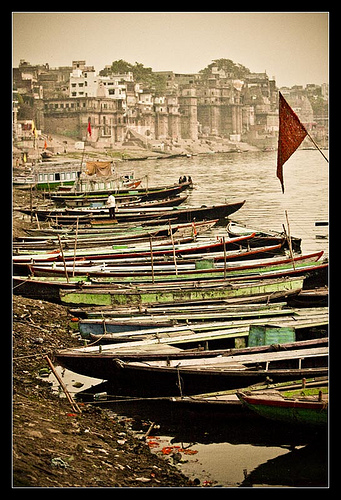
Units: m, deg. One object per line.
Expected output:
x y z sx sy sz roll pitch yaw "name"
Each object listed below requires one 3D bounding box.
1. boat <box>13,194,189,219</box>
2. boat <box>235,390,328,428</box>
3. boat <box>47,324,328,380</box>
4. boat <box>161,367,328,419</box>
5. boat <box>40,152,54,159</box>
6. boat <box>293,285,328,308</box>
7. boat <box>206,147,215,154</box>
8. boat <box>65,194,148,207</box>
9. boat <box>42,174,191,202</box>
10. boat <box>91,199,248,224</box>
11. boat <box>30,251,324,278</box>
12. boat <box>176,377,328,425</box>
-1.618 -1.039 27.310 2.898 0.470 0.615 -7 5 0 "boat"
1.236 1.700 12.557 0.953 0.361 0.441 2 -5 0 "boat"
0.237 1.229 13.564 2.361 0.420 0.529 -4 5 -16 "boat"
0.871 1.598 12.793 1.764 0.397 0.433 -4 -6 -15 "boat"
-4.680 -3.616 43.178 0.331 0.226 0.715 13 14 33 "boat"
2.123 0.687 16.839 0.203 0.250 0.777 1 6 42 "boat"
1.870 -4.773 54.502 0.477 0.489 0.136 0 -6 -14 "boat"
-1.658 -1.235 28.398 1.907 0.310 0.418 -5 -1 -1 "boat"
-1.634 -1.708 31.513 3.522 0.968 1.109 -5 12 -15 "boat"
-0.088 -0.883 26.515 2.922 0.475 0.556 -8 20 -44 "boat"
0.064 0.261 17.824 4.579 0.360 0.995 0 13 -23 "boat"
0.916 1.793 12.650 1.907 0.415 0.654 1 1 -5 "boat"
